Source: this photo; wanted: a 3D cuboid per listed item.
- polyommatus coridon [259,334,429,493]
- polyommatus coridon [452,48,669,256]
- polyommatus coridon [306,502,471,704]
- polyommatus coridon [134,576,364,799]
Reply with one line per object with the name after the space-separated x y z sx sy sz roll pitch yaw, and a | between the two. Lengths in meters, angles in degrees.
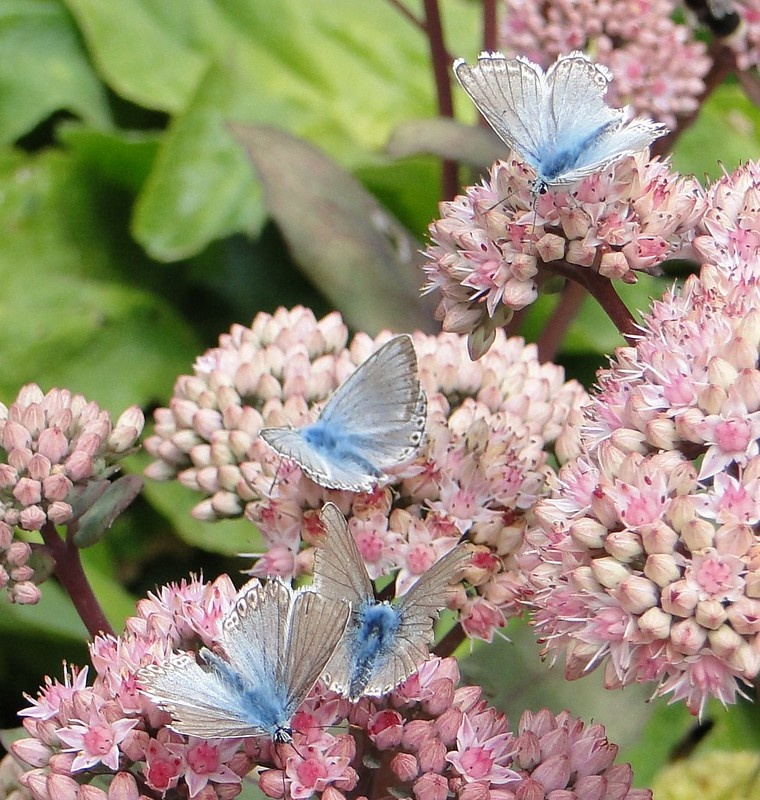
-0.026 0.014 0.905 0.058 0.058 0.112 33 39 20 | polyommatus coridon
0.117 -0.188 0.826 0.097 0.094 0.109 -33 81 -5 | polyommatus coridon
-0.012 0.132 0.805 0.121 0.057 0.118 25 68 -22 | polyommatus coridon
-0.080 0.171 0.737 0.098 0.065 0.139 55 39 -24 | polyommatus coridon
